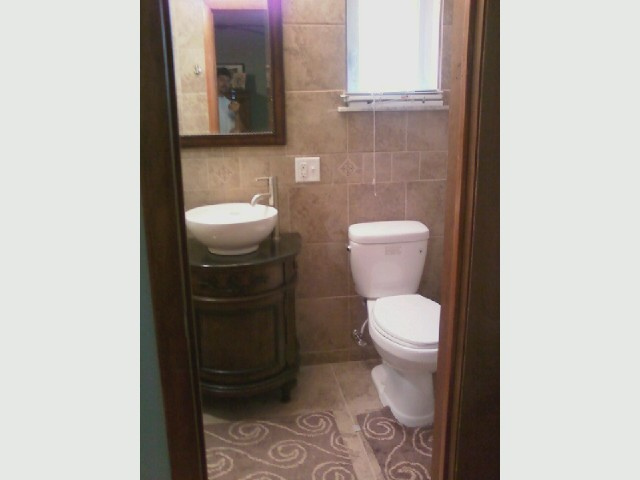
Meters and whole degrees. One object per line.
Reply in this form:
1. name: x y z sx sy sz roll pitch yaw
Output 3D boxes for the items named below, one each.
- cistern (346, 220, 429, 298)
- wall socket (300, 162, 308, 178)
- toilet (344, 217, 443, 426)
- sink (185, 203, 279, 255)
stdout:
1. cistern: 0.305 0.082 2.604 0.358 0.350 0.218 0 26 -1
2. wall socket: -0.071 -0.307 2.543 0.037 0.068 0.009 -5 18 -1
3. toilet: 0.355 0.352 2.404 0.369 0.721 0.637 -5 17 -14
4. sink: -0.341 -0.051 2.327 0.353 0.191 0.411 -9 19 -11
